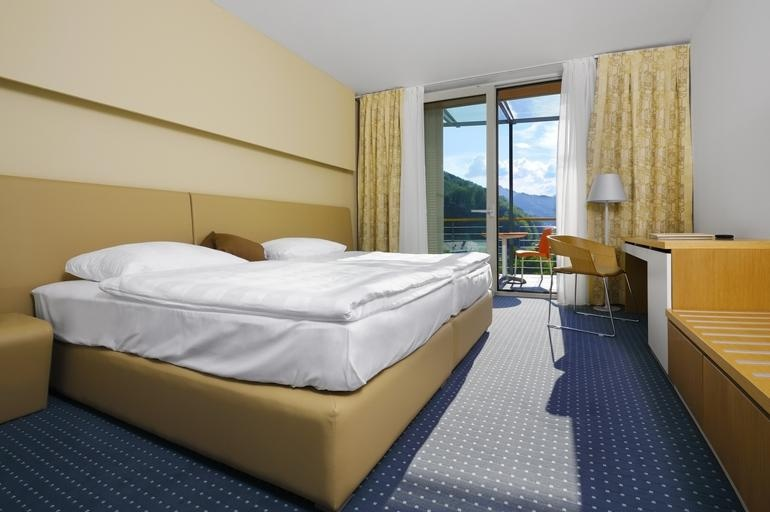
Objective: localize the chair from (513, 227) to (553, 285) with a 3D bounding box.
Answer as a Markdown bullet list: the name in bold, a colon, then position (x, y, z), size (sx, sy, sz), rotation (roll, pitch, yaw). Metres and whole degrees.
- **chair**: position (2.029, -0.050, 6.486), size (0.551, 0.668, 0.562), rotation (4, 8, 38)

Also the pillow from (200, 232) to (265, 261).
- **pillow**: position (-1.362, -0.101, 4.290), size (0.385, 0.122, 0.304), rotation (22, 13, -10)

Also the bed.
- **bed**: position (-1.119, 0.352, 3.443), size (2.904, 1.865, 1.981), rotation (3, 7, 25)

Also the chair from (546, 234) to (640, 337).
- **chair**: position (2.129, 0.275, 5.021), size (0.966, 1.300, 0.989), rotation (-3, -3, 36)
